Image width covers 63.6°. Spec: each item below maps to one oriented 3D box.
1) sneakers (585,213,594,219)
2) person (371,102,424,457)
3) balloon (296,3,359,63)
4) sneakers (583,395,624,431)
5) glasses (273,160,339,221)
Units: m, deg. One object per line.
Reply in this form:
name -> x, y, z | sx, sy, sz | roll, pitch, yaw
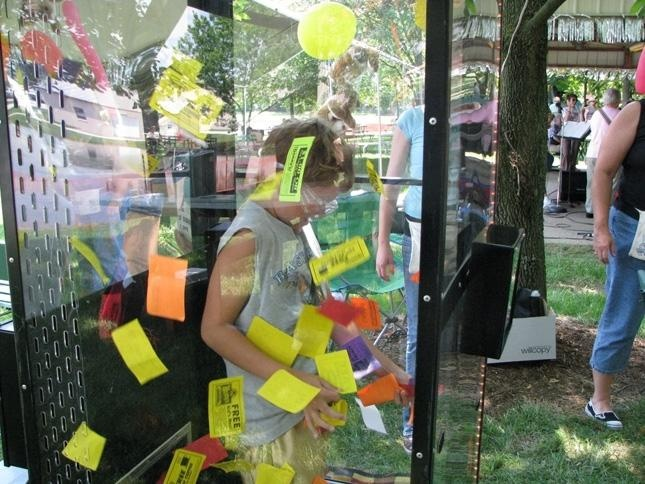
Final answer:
sneakers -> 4.124, -0.427, 8.045 | 0.096, 0.093, 0.141 | 6, 18, 24
person -> 0.194, 0.100, 1.234 | 0.085, 0.820, 0.167 | -7, 13, -16
balloon -> 0.004, -0.534, 1.316 | 0.135, 0.135, 0.078 | 10, 24, 28
sneakers -> 1.619, 0.992, 3.022 | 0.079, 0.086, 0.223 | -8, 10, -22
glasses -> -0.050, -0.133, 1.353 | 0.110, 0.067, 0.141 | -29, 23, -36
